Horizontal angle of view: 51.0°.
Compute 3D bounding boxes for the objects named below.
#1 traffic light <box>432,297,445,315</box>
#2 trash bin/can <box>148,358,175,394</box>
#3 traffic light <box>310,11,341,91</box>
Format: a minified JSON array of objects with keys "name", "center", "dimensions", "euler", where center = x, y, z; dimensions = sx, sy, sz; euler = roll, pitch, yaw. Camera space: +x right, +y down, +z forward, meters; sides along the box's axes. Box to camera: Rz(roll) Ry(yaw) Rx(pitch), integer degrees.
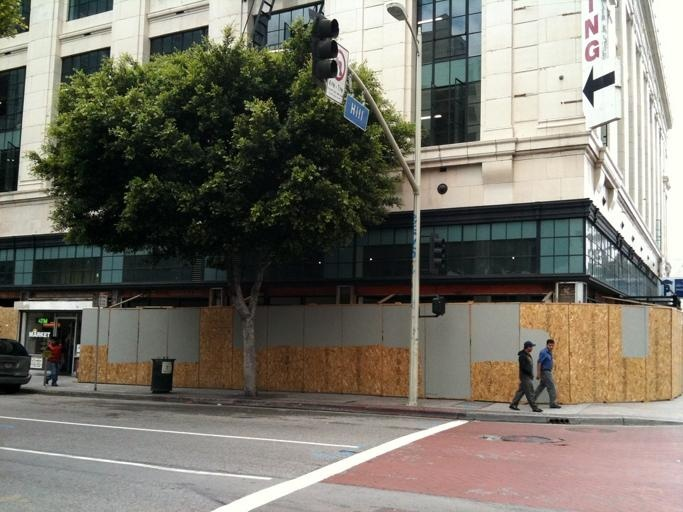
[{"name":"traffic light","center":[3.092,1.597,22.946],"dimensions":[0.356,0.538,0.307],"euler":[0,-2,1]},{"name":"trash bin/can","center":[-6.575,4.348,26.280],"dimensions":[0.799,1.250,0.893],"euler":[4,-4,4]},{"name":"traffic light","center":[-0.354,-4.393,15.273],"dimensions":[0.513,1.273,0.379],"euler":[0,-2,-8]}]
